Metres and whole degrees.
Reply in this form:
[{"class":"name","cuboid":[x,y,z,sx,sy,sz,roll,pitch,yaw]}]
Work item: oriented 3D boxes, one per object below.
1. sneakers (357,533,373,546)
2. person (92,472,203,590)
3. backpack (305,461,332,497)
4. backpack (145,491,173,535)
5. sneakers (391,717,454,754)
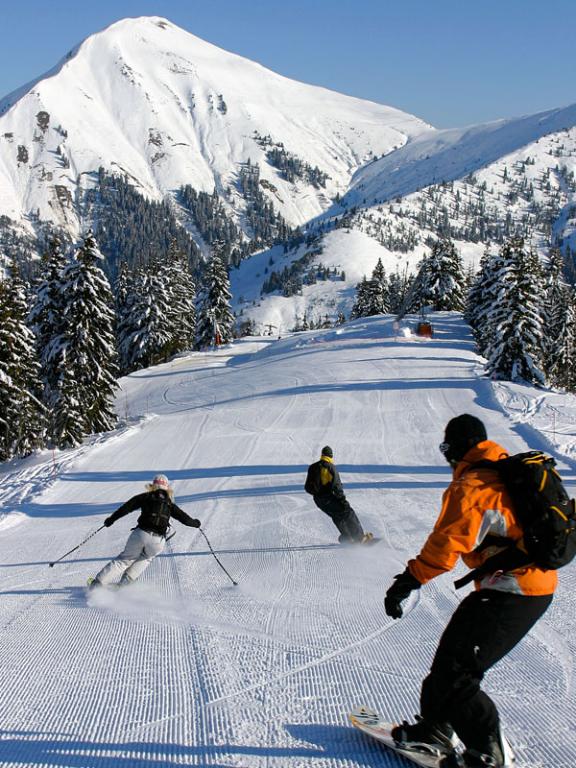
[{"class":"sneakers","cuboid":[0.974,1.971,8.670,0.092,0.109,0.368,-4,-16,17]},{"class":"person","cuboid":[-1.581,1.647,7.452,0.956,1.363,0.486,28,-4,-24]},{"class":"backpack","cuboid":[0.399,1.214,8.710,0.351,0.470,0.204,-4,4,5]},{"class":"backpack","cuboid":[-1.383,1.401,7.345,0.170,0.531,0.374,-2,5,35]},{"class":"sneakers","cuboid":[0.828,2.145,4.179,0.261,0.113,0.257,8,-5,4]}]
